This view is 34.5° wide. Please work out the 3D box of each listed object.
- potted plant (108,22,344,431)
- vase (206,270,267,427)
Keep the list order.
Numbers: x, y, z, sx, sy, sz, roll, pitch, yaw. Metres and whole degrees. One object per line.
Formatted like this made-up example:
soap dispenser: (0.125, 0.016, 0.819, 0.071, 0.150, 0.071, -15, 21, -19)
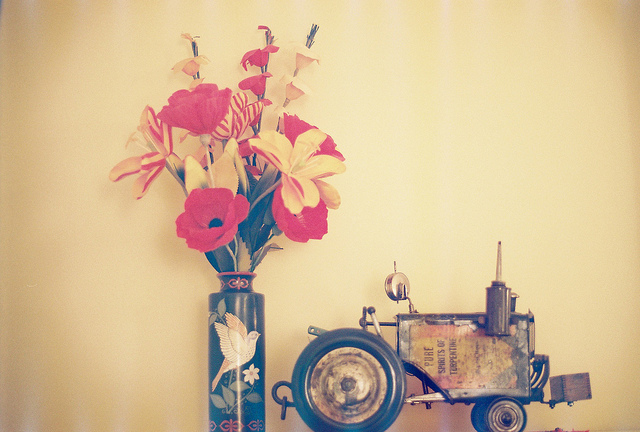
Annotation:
potted plant: (-0.300, -0.024, 3.422, 0.759, 1.411, 0.469, -1, -21, 0)
vase: (-0.283, 0.423, 3.414, 0.211, 0.553, 0.266, 1, -22, -4)
